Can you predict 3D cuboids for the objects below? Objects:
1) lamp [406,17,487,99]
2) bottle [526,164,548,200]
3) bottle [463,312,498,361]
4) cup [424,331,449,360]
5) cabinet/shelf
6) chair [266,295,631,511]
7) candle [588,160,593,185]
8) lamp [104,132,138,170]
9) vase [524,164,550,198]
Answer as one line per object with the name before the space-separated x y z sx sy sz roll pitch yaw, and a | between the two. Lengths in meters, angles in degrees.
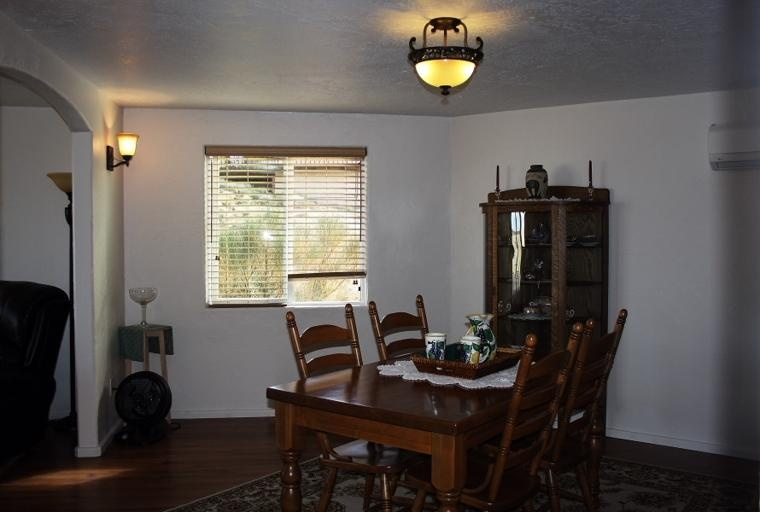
lamp | 0.444 -1.355 4.078 0.561 0.493 0.562 4 16 16
bottle | 1.384 -0.658 5.264 0.173 0.289 0.102 1 7 8
bottle | 0.626 0.524 3.735 0.258 0.356 0.259 -1 -5 0
cup | 0.342 0.560 3.680 0.146 0.228 0.155 -1 -3 0
cabinet/shelf | 1.458 0.303 5.366 0.985 1.824 0.537 8 14 44
chair | 0.328 1.019 3.574 1.861 1.352 1.212 2 7 18
candle | 1.889 -0.745 5.334 0.033 0.236 0.166 2 7 19
lamp | -2.296 -0.922 5.320 0.273 0.309 0.207 -2 -2 -3
vase | 1.394 -0.668 5.308 0.183 0.308 0.183 -6 16 -5
